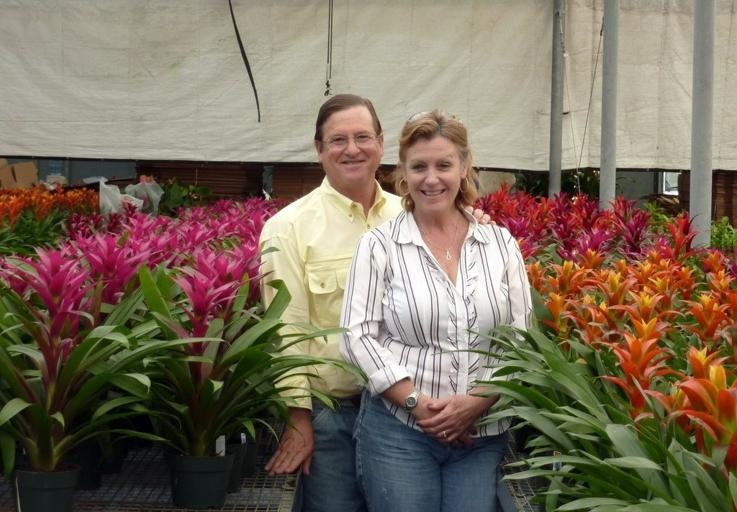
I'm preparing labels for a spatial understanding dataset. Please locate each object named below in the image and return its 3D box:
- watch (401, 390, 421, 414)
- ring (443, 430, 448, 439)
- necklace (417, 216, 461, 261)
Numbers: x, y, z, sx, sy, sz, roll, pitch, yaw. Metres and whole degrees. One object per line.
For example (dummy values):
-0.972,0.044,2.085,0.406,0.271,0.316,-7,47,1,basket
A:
0.193,0.658,2.659,0.055,0.094,0.085,8,-24,-11,watch
0.341,0.800,2.638,0.023,0.033,0.032,-1,-22,-5,ring
0.355,-0.084,2.905,0.168,0.236,0.070,-13,-6,-21,necklace
